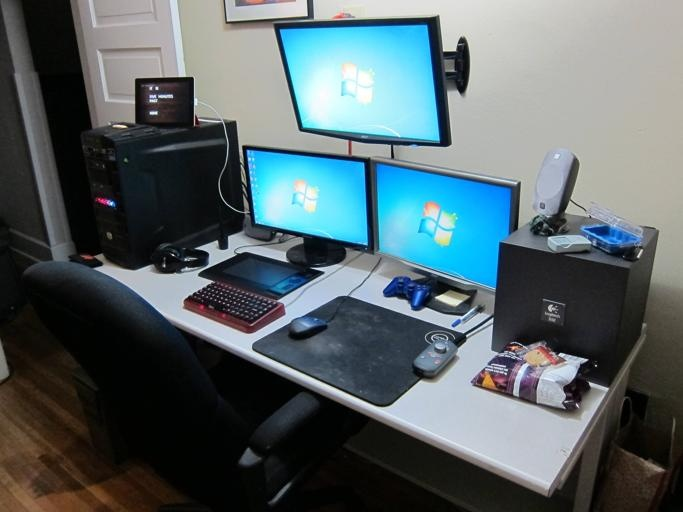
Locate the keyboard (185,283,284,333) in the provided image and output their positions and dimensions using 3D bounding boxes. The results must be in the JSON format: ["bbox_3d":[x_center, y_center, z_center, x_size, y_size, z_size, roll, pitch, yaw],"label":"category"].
[{"bbox_3d":[-0.398,0.179,1.922,0.351,0.074,0.182,15,18,32],"label":"keyboard"}]

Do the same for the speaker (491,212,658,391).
[{"bbox_3d":[0.697,0.115,1.618,0.405,0.386,0.300,16,28,30],"label":"speaker"}]

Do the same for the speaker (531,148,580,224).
[{"bbox_3d":[0.636,-0.211,1.633,0.107,0.222,0.113,-12,23,-41],"label":"speaker"}]

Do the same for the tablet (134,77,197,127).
[{"bbox_3d":[-0.780,-0.676,2.308,0.320,0.194,0.086,12,26,22],"label":"tablet"}]

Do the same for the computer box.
[{"bbox_3d":[-0.852,-0.241,2.489,0.521,0.729,0.579,-14,25,-43],"label":"computer box"}]
